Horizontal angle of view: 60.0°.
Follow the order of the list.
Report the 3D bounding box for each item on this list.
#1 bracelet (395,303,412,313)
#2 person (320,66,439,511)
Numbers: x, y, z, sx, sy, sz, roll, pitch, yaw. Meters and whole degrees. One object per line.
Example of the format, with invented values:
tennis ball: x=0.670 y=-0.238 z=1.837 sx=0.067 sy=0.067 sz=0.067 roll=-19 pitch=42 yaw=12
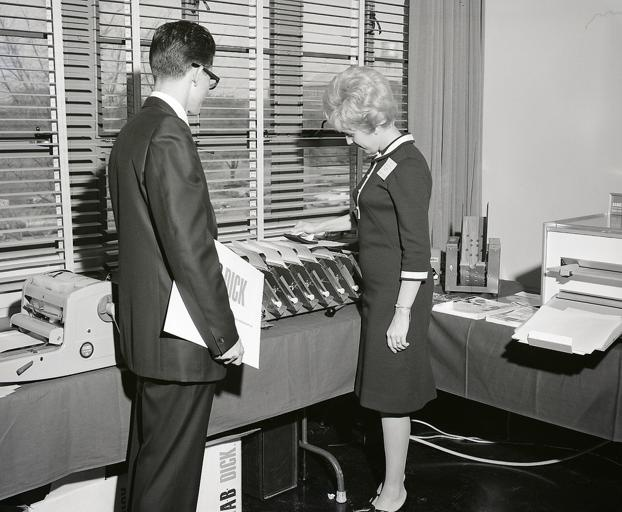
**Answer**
bracelet: x=0.325 y=0.178 z=1.903 sx=0.054 sy=0.032 sz=0.043 roll=1 pitch=10 yaw=8
person: x=0.263 y=0.201 z=2.032 sx=0.408 sy=1.781 sz=0.281 roll=3 pitch=9 yaw=19
